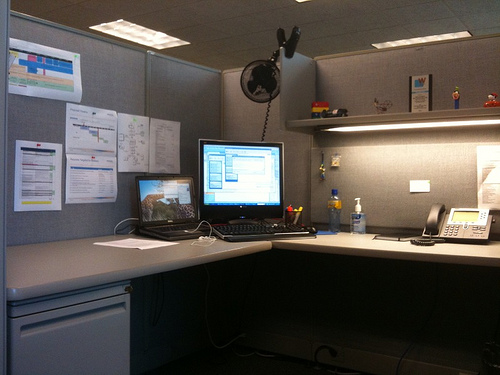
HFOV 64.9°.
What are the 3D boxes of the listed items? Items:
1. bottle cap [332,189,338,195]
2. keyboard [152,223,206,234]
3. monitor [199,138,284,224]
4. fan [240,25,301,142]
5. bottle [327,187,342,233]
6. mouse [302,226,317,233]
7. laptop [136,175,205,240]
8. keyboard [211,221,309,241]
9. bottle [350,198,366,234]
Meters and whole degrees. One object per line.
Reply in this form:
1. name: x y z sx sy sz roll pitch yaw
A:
1. bottle cap: 0.498 0.029 2.299 0.035 0.032 0.026 0 3 8
2. keyboard: -0.351 0.203 1.955 0.146 0.015 0.282 2 4 42
3. monitor: -0.062 -0.031 2.181 0.465 0.444 0.135 1 -5 -9
4. fan: 0.107 -0.617 2.314 0.284 0.672 0.463 -2 3 -23
5. bottle: 0.482 0.128 2.238 0.085 0.251 0.192 0 3 11
6. mouse: 0.312 0.216 2.033 0.043 0.017 0.058 0 3 -15
7. laptop: -0.379 0.088 1.989 0.345 0.294 0.386 -2 3 -31
8. keyboard: 0.031 0.218 1.997 0.454 0.048 0.325 -2 3 -21
9. bottle: 0.605 0.162 2.197 0.086 0.193 0.140 0 3 14
